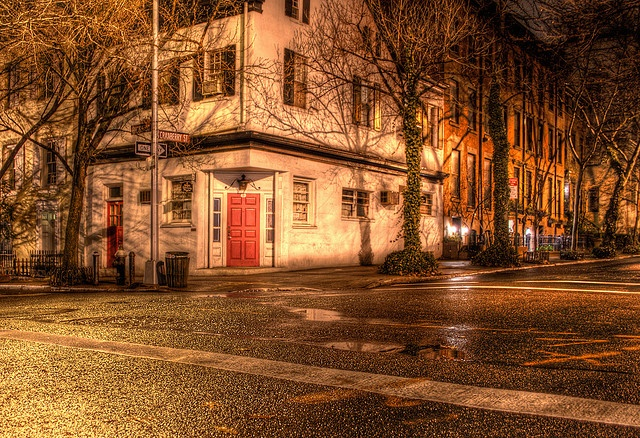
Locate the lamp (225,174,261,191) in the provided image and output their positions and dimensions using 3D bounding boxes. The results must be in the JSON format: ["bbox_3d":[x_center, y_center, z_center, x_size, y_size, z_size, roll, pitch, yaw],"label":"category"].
[{"bbox_3d":[-3.155,-1.479,28.014,1.335,0.703,0.317,1,-6,-11],"label":"lamp"}]

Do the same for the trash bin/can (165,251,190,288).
[{"bbox_3d":[-4.844,1.704,22.958,0.772,1.216,0.528,1,-6,-8],"label":"trash bin/can"}]

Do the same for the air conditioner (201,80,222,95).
[{"bbox_3d":[-4.400,-5.313,27.535,0.823,0.526,0.608,4,5,14],"label":"air conditioner"}]
